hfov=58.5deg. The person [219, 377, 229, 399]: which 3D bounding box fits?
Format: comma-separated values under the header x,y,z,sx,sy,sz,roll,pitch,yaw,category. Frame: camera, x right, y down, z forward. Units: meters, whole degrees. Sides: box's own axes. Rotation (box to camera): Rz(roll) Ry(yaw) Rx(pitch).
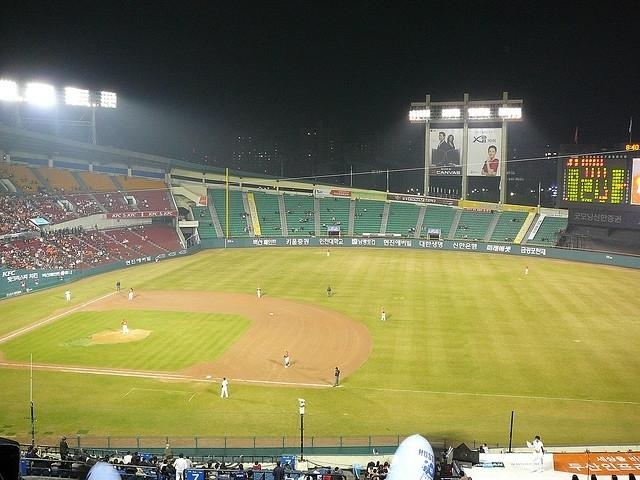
x,y,z,sx,sy,sz,roll,pitch,yaw,category
-6.198,9.160,36.917,0.586,1.269,2.215,-3,11,-9,person
